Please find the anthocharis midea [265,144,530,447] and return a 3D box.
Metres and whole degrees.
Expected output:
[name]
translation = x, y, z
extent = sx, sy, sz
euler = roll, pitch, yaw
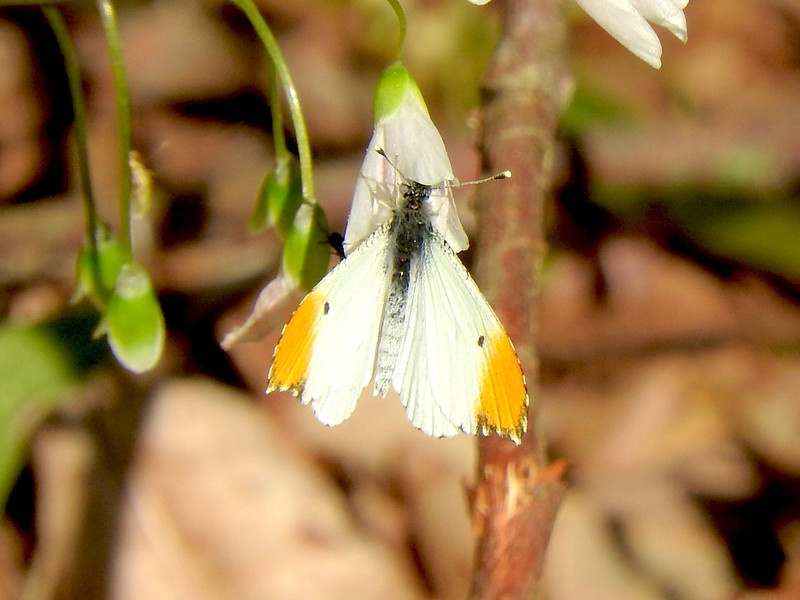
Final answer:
[anthocharis midea]
translation = 0.025, -0.007, 1.520
extent = 0.388, 0.427, 0.147
euler = 13, 14, -10
